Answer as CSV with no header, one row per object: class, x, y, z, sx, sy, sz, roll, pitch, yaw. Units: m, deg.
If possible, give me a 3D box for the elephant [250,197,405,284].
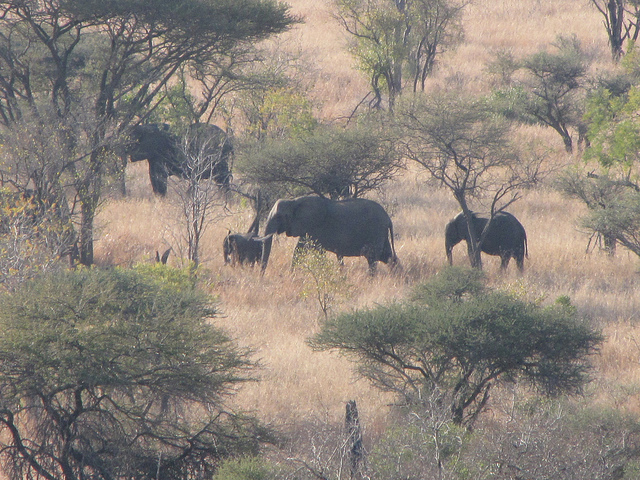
elephant,0.305,-0.056,62.366,5.442,3.544,1.946,1,12,-3
